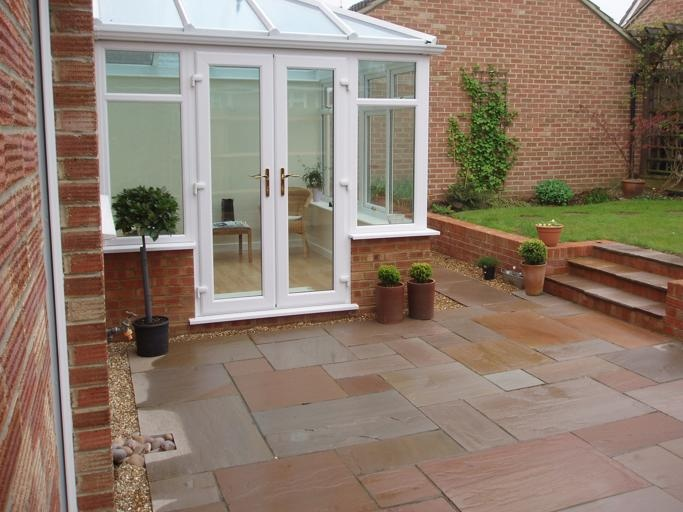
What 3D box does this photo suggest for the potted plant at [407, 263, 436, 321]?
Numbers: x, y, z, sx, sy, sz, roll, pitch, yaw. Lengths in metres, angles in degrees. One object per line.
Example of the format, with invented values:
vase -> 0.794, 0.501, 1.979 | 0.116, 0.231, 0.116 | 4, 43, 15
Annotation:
potted plant -> 0.986, 0.413, 6.532 | 0.333, 0.699, 0.303 | 1, 15, 6

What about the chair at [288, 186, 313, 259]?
chair -> -0.484, -0.414, 6.240 | 0.302, 0.808, 0.159 | -3, 15, -8

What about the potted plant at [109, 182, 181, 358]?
potted plant -> -1.970, 0.127, 5.480 | 0.610, 1.713, 0.645 | -6, 16, -18

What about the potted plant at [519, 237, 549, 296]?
potted plant -> 2.694, 0.142, 7.440 | 0.373, 0.778, 0.330 | 3, 15, 16

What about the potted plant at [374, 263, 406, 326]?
potted plant -> 0.583, 0.437, 6.406 | 0.334, 0.686, 0.356 | -1, 15, 1

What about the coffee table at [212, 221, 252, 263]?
coffee table -> -1.212, -0.200, 6.011 | 0.516, 0.355, 0.446 | -1, 5, -10
